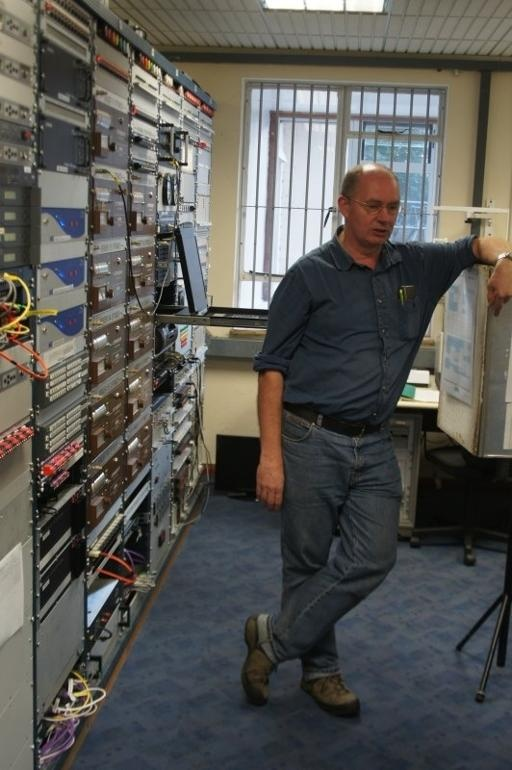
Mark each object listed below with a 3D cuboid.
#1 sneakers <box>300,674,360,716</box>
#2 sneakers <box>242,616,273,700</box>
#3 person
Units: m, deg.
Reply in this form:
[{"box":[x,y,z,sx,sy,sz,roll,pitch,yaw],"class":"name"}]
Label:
[{"box":[0.248,1.044,2.020,0.092,0.096,0.200,0,5,-44],"class":"sneakers"},{"box":[-0.003,0.957,2.032,0.100,0.319,0.139,-2,9,-7],"class":"sneakers"},{"box":[0.327,0.243,1.845,0.692,1.807,0.288,4,3,2],"class":"person"}]
